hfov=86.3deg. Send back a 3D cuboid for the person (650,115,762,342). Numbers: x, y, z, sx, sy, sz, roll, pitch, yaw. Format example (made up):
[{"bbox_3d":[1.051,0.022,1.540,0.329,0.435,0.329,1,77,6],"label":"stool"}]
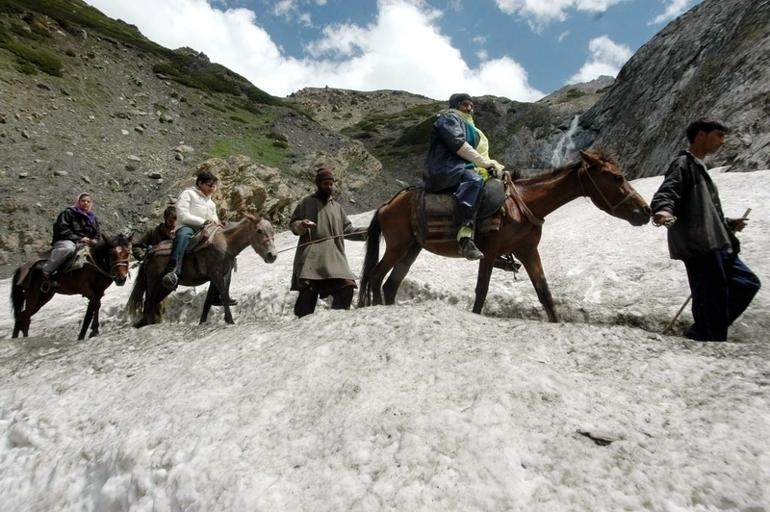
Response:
[{"bbox_3d":[3.786,-0.373,4.888,1.426,2.672,0.616,5,-8,-30],"label":"person"}]

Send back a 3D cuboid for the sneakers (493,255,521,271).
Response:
[{"bbox_3d":[1.999,0.102,6.811,0.193,0.246,0.559,12,3,-2],"label":"sneakers"}]

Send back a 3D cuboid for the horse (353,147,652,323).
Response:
[{"bbox_3d":[1.638,-0.192,6.642,4.617,2.542,1.049,1,7,25],"label":"horse"}]

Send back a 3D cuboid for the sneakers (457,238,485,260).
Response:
[{"bbox_3d":[1.247,-0.122,5.982,0.235,0.180,0.402,2,9,-16],"label":"sneakers"}]

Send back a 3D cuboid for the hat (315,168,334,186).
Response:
[{"bbox_3d":[-1.022,-1.370,7.074,0.320,0.246,0.267,-11,10,-38],"label":"hat"}]

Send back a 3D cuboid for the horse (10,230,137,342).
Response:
[{"bbox_3d":[-6.732,0.614,8.750,3.085,2.136,0.743,-2,-8,22],"label":"horse"}]

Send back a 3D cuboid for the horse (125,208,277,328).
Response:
[{"bbox_3d":[-3.424,0.374,7.704,3.017,1.941,0.728,-9,-14,11],"label":"horse"}]
